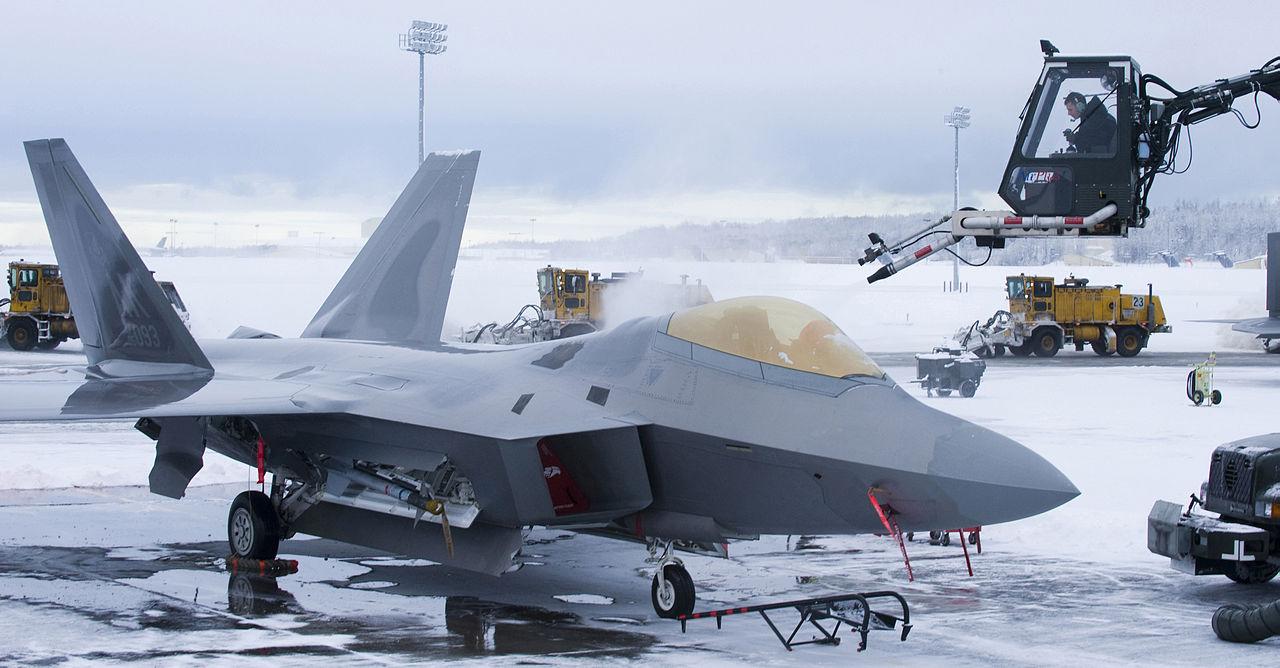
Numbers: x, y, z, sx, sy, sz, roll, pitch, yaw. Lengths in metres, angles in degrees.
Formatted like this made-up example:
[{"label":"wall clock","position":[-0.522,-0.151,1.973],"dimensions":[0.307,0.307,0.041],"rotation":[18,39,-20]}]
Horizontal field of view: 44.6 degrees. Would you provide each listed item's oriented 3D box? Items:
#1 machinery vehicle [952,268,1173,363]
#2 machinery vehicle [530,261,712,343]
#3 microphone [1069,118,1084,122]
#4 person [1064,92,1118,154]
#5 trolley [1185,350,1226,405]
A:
[{"label":"machinery vehicle","position":[16.565,-0.717,61.080],"dimensions":[9.570,2.818,3.462],"rotation":[1,0,-9]},{"label":"machinery vehicle","position":[0.478,-1.342,59.763],"dimensions":[8.027,2.577,2.602],"rotation":[0,1,-9]},{"label":"microphone","position":[9.558,-4.671,34.167],"dimensions":[0.287,0.081,0.065],"rotation":[3,5,4]},{"label":"person","position":[9.814,-4.618,34.124],"dimensions":[1.034,1.283,0.513],"rotation":[2,16,5]},{"label":"trolley","position":[15.981,1.307,44.650],"dimensions":[1.171,1.327,0.967],"rotation":[-10,8,-10]}]
